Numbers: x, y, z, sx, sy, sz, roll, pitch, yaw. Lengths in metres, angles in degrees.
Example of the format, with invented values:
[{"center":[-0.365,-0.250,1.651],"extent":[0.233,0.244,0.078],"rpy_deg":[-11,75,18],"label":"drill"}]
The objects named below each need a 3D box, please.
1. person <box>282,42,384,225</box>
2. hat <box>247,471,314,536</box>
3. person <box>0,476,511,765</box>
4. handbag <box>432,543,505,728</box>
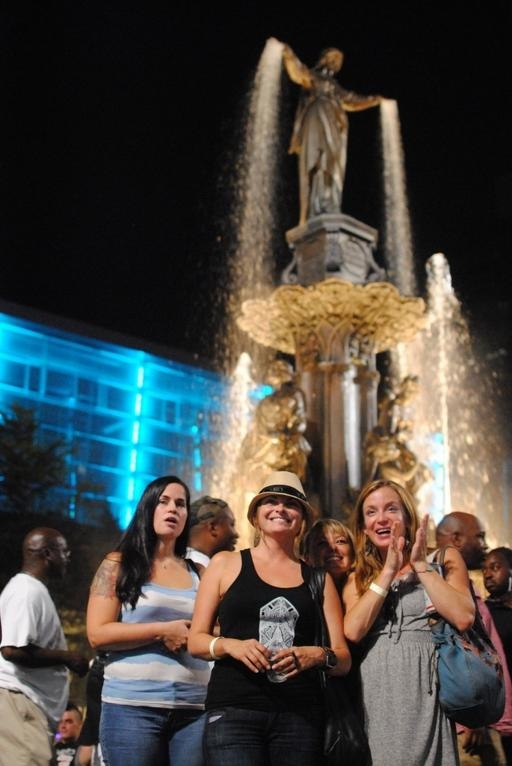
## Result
[{"center":[0.870,-3.316,10.410],"extent":[1.075,2.674,0.656],"rpy_deg":[2,-9,-1],"label":"person"},{"center":[0.107,0.524,3.688],"extent":[0.231,0.166,0.323],"rpy_deg":[1,-39,2],"label":"hat"},{"center":[0.081,1.032,3.428],"extent":[1.779,1.300,0.953],"rpy_deg":[-3,-10,29],"label":"person"},{"center":[0.898,1.153,3.295],"extent":[0.315,0.505,0.269],"rpy_deg":[6,-10,-26],"label":"handbag"}]
